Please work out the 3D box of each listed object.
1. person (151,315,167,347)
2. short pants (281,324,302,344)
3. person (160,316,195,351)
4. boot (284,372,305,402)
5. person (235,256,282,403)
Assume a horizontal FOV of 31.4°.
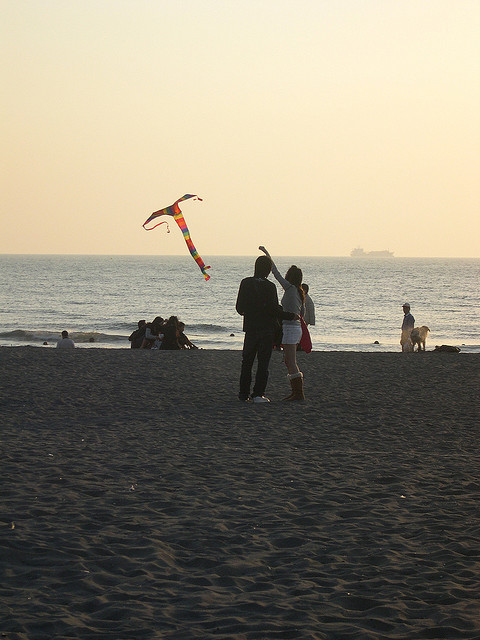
[{"bbox_3d":[-1.785,0.264,18.711,0.347,0.704,0.403,19,-43,-28],"label":"person"},{"bbox_3d":[0.638,0.157,10.429,0.201,0.202,0.287,7,4,19],"label":"short pants"},{"bbox_3d":[-1.406,0.317,18.812,0.739,0.845,0.606,-9,20,-29],"label":"person"},{"bbox_3d":[0.675,0.825,10.640,0.246,0.375,0.262,1,3,0],"label":"boot"},{"bbox_3d":[0.213,0.125,10.336,0.556,1.774,0.503,2,3,8],"label":"person"}]
